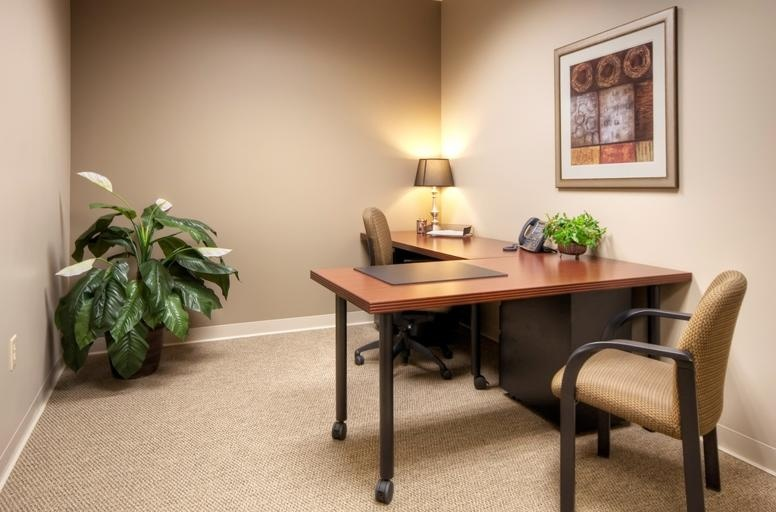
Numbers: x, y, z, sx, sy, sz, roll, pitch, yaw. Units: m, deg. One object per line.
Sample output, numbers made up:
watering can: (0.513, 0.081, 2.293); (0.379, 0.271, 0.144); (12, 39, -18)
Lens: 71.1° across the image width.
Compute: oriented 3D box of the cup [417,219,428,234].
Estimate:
cup: (0.304, -0.256, 5.025); (0.097, 0.144, 0.123); (-2, 3, -37)

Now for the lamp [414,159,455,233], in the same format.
lamp: (0.443, -0.584, 5.259); (0.372, 0.668, 0.393); (-1, 5, -3)

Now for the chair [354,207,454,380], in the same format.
chair: (0.113, 0.234, 4.401); (0.776, 1.385, 0.921); (-8, 12, -19)

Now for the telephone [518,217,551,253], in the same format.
telephone: (1.055, -0.139, 3.976); (0.102, 0.251, 0.217); (23, 2, -24)

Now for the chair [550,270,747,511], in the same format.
chair: (1.473, 0.604, 3.270); (1.064, 1.764, 1.124); (2, 2, 33)

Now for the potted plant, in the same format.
potted plant: (-1.758, 0.199, 4.284); (1.469, 1.642, 1.444); (4, 5, 28)
